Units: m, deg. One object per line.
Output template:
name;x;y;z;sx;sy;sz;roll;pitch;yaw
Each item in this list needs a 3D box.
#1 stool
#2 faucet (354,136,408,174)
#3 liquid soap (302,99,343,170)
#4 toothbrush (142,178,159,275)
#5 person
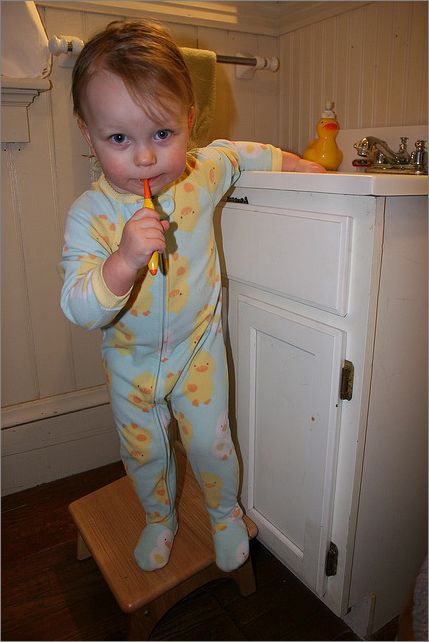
stool;-0.103;0.421;0.903;0.259;0.168;0.262;-25;14;-21
faucet;0.359;-0.343;1.007;0.130;0.067;0.079;-9;19;-37
liquid soap;0.272;-0.449;1.163;0.078;0.168;0.089;3;13;-4
toothbrush;-0.078;-0.117;0.552;0.018;0.140;0.018;-1;-9;-11
person;-0.025;0.027;0.773;0.463;0.896;0.303;-13;17;-41
